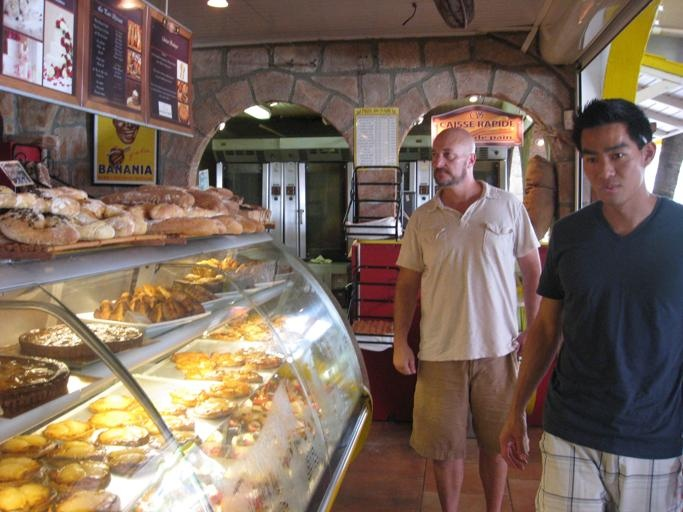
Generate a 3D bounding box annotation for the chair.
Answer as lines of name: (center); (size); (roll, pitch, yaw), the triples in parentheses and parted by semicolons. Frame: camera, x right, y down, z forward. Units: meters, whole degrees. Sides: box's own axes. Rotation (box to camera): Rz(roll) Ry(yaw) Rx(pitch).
chair: (0.243, 0.330, 3.538); (0.284, 0.472, 0.270); (9, -3, 6)
